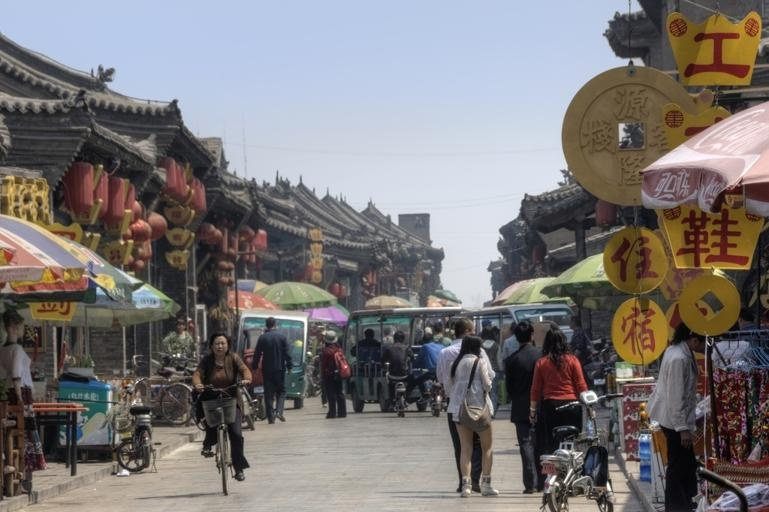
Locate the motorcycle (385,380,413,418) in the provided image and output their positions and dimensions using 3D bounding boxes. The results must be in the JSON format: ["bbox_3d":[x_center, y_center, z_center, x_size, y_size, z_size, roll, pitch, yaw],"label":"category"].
[{"bbox_3d":[0.429,3.285,32.006,0.783,0.977,1.670,-1,0,-4],"label":"motorcycle"}]

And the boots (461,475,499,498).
[{"bbox_3d":[1.424,3.413,19.900,0.559,0.313,0.342,-5,-11,1],"label":"boots"}]

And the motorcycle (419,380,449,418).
[{"bbox_3d":[1.186,3.359,31.703,0.800,0.887,1.505,1,-4,-8],"label":"motorcycle"}]

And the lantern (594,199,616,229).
[{"bbox_3d":[5.045,-1.055,30.497,0.472,0.654,0.929,-7,-11,9],"label":"lantern"}]

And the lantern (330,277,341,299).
[{"bbox_3d":[-2.185,1.459,61.366,0.543,0.896,0.914,-6,9,2],"label":"lantern"}]

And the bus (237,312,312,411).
[{"bbox_3d":[-2.986,2.772,36.166,2.138,2.460,3.560,4,-4,-5],"label":"bus"}]

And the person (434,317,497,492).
[{"bbox_3d":[1.290,2.318,20.590,0.998,2.661,0.788,7,17,23],"label":"person"}]

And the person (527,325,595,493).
[{"bbox_3d":[2.596,1.990,19.861,0.696,1.889,0.794,-1,-2,16],"label":"person"}]

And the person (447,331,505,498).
[{"bbox_3d":[1.334,2.338,20.231,0.897,2.117,0.998,1,-1,3],"label":"person"}]

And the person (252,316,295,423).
[{"bbox_3d":[-2.519,2.541,30.380,0.907,2.401,0.895,0,-1,5],"label":"person"}]

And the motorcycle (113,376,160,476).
[{"bbox_3d":[-4.333,2.972,23.511,0.680,1.682,1.886,-4,-11,-10],"label":"motorcycle"}]

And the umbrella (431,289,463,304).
[{"bbox_3d":[3.920,2.627,86.260,1.767,0.752,1.896,5,-5,32],"label":"umbrella"}]

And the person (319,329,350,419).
[{"bbox_3d":[-1.159,2.786,31.415,0.832,1.889,0.823,-1,-2,17],"label":"person"}]

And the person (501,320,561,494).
[{"bbox_3d":[2.018,2.313,20.548,0.762,2.589,0.845,-4,4,-30],"label":"person"}]

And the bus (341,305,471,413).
[{"bbox_3d":[0.130,2.440,33.949,2.301,2.131,3.463,0,-7,8],"label":"bus"}]
